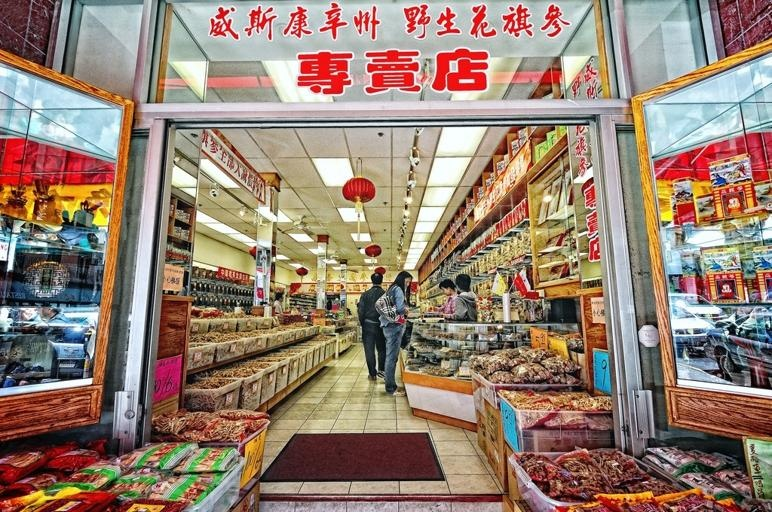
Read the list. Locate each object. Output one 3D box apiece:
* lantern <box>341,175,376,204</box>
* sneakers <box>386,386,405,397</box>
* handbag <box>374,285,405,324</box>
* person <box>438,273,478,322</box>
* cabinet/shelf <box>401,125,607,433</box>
[{"bbox_3d":[-0.381,-0.966,6.536,0.571,0.457,0.458,-7,4,5],"label":"lantern"},{"bbox_3d":[0.122,1.736,5.611,0.236,0.073,0.093,0,-9,-1],"label":"sneakers"},{"bbox_3d":[0.053,0.627,5.614,0.364,0.471,0.234,-1,-3,11],"label":"handbag"},{"bbox_3d":[0.977,0.579,5.874,0.625,0.658,0.597,-7,-13,39],"label":"person"},{"bbox_3d":[1.295,0.131,4.933,1.453,2.167,3.920,3,-9,-1],"label":"cabinet/shelf"}]
